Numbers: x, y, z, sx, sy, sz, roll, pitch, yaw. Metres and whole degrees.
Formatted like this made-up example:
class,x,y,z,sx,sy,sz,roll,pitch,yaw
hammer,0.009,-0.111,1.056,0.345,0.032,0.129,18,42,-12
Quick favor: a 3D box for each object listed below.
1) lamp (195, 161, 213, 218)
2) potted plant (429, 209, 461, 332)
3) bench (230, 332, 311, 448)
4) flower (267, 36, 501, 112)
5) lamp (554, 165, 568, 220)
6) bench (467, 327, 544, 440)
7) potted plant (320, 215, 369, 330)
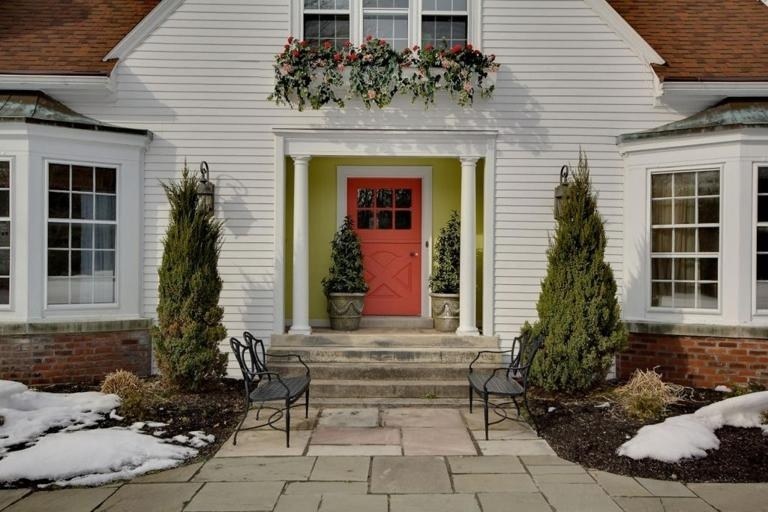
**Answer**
class,x,y,z,sx,sy,sz,roll,pitch,yaw
lamp,-2.896,-1.145,12.786,0.277,0.890,0.840,0,1,-12
potted plant,1.082,0.263,13.833,0.511,2.057,0.867,0,0,3
bench,-1.657,1.868,11.597,1.041,1.405,1.721,2,2,3
flower,-0.068,-3.027,12.957,3.642,1.198,0.450,0,0,0
lamp,2.893,-1.077,12.753,0.234,0.915,0.959,0,1,12
bench,1.864,1.935,12.001,1.256,1.897,1.474,1,2,-4
potted plant,-0.667,0.281,13.801,0.764,1.971,0.577,0,0,0
